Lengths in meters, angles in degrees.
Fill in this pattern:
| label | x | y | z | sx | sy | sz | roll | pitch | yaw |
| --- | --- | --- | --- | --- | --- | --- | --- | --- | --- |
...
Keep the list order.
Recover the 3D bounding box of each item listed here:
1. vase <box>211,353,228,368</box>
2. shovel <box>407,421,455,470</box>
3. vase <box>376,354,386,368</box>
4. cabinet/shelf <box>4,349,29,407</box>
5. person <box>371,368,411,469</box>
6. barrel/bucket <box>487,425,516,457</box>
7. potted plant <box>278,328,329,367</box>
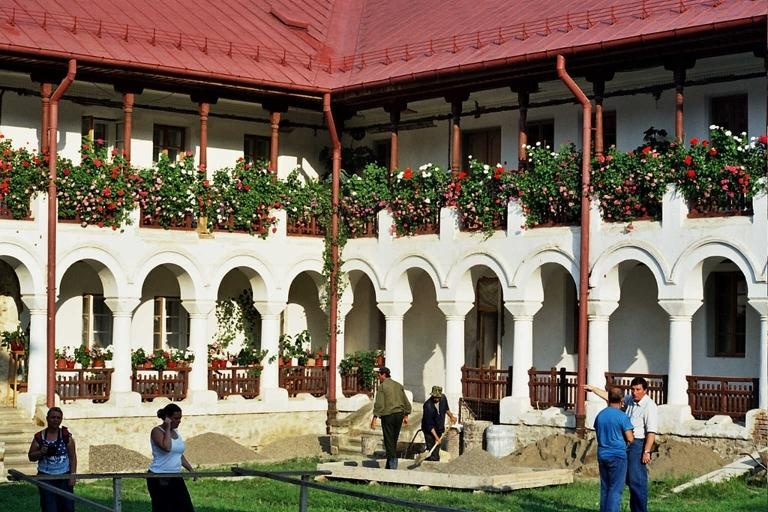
| label | x | y | z | sx | sy | sz | roll | pitch | yaw |
| --- | --- | --- | --- | --- | --- | --- | --- | --- | --- |
| vase | -4.590 | 2.943 | 43.333 | 0.334 | 0.234 | 0.329 | 0 | -1 | -24 |
| shovel | 1.206 | 4.658 | 37.809 | 0.469 | 0.297 | 2.018 | -2 | 18 | 27 |
| vase | -0.111 | 2.915 | 43.455 | 0.253 | 0.369 | 0.685 | -6 | -1 | 0 |
| cabinet/shelf | -9.643 | 3.182 | 41.154 | 0.646 | 1.276 | 1.147 | -6 | -1 | -13 |
| person | 0.130 | 3.758 | 36.698 | 0.933 | 2.245 | 0.954 | 1 | 4 | -2 |
| barrel/bucket | 2.941 | 4.571 | 38.630 | 0.740 | 0.660 | 0.726 | -1 | -7 | 0 |
| potted plant | -2.317 | 2.623 | 43.947 | 1.155 | 0.817 | 1.016 | 1 | -3 | 8 |
